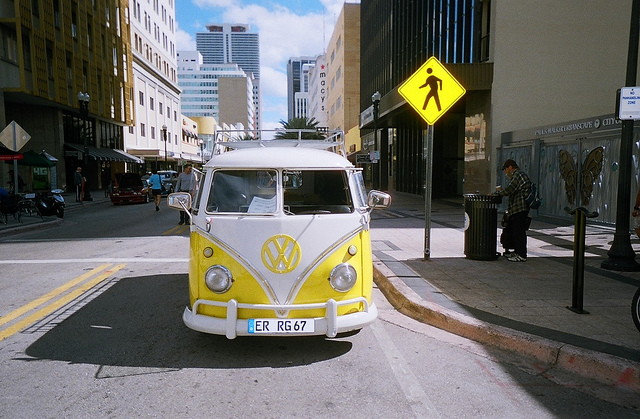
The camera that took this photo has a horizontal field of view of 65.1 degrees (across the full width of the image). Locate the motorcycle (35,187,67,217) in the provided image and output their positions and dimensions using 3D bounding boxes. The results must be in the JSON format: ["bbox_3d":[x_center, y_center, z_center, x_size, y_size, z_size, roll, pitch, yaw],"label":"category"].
[{"bbox_3d":[-10.779,-0.334,19.995,1.507,1.176,0.687,6,5,15],"label":"motorcycle"}]

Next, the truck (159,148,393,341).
[{"bbox_3d":[-0.913,0.047,10.400,3.710,3.300,6.204,-1,12,-9],"label":"truck"}]

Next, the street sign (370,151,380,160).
[{"bbox_3d":[3.107,-3.046,28.522,0.544,0.601,0.434,0,-2,-1],"label":"street sign"}]

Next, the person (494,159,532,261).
[{"bbox_3d":[4.662,0.018,11.927,0.655,2.362,0.615,2,7,23],"label":"person"}]

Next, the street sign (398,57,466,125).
[{"bbox_3d":[2.491,-2.661,11.270,1.333,1.483,0.267,0,6,0],"label":"street sign"}]

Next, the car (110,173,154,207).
[{"bbox_3d":[-10.563,-1.158,28.012,1.951,1.718,2.220,-3,7,-21],"label":"car"}]
